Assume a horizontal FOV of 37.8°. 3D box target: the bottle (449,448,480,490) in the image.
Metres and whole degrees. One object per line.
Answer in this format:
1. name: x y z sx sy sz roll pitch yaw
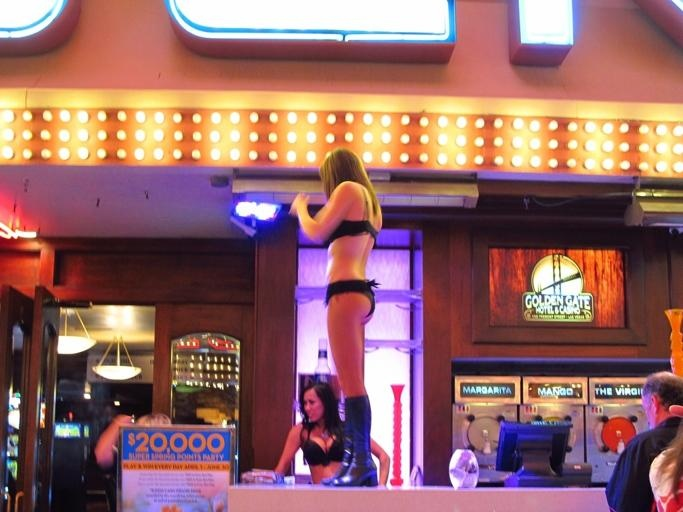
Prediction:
1. bottle: 0.709 1.219 5.784 0.181 0.250 0.198 -2 -5 0

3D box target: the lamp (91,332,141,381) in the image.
1. lamp: -2.122 0.935 9.373 0.318 0.366 0.353 4 -13 -16

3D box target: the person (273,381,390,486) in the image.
1. person: -0.106 1.149 6.455 0.513 0.821 0.292 -17 -37 7

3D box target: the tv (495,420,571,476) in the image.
1. tv: 1.241 1.208 6.409 0.481 0.387 0.311 2 -31 3

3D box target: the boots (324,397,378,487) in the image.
1. boots: 0.056 1.052 5.743 0.315 0.504 0.169 0 -11 -8

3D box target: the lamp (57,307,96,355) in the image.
1. lamp: -2.395 0.677 9.054 0.347 0.438 0.372 -3 -7 26
